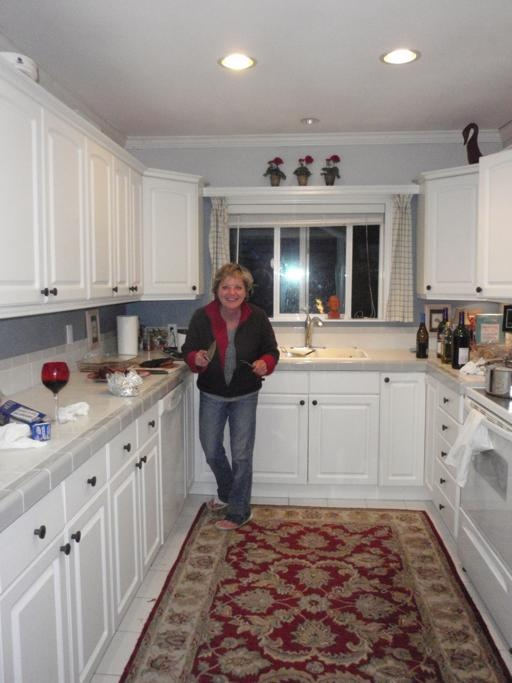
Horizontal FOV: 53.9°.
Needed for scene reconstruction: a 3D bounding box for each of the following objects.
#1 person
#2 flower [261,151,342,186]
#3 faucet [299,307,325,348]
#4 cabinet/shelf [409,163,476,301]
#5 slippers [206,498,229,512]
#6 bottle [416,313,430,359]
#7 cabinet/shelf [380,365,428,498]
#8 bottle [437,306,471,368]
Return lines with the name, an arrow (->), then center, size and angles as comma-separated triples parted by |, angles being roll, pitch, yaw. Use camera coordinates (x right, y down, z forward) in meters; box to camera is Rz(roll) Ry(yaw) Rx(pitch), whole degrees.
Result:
person -> -0.135, 0.314, 2.767 | 0.509, 1.453, 0.460 | 0, 3, 0
flower -> 0.319, -1.205, 3.554 | 0.546, 0.235, 0.186 | 0, 3, 5
faucet -> 0.415, -0.089, 3.649 | 0.143, 0.282, 0.268 | 0, 3, 6
cabinet/shelf -> 1.209, -0.680, 3.196 | 0.102, 0.821, 0.406 | -2, 3, -31
slippers -> -0.249, 0.986, 3.062 | 0.106, 0.029, 0.059 | 6, 3, -31
bottle -> 1.119, -0.041, 3.395 | 0.078, 0.282, 0.417 | 1, 3, 19
cabinet/shelf -> 0.908, 0.548, 3.144 | 0.268, 0.706, 0.093 | 0, 3, 14
bottle -> 1.174, -0.018, 2.991 | 0.145, 0.484, 0.145 | -5, 34, 3
